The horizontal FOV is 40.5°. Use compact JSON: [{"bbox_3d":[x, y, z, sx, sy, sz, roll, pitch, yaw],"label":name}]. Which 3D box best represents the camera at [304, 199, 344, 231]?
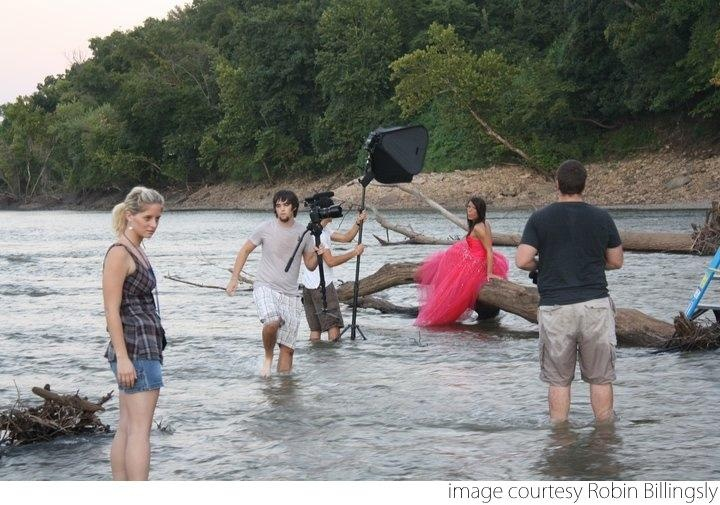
[{"bbox_3d":[-0.763,-0.776,19.681,0.701,0.392,0.658,-1,3,3],"label":"camera"}]

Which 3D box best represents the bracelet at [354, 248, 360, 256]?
[{"bbox_3d":[-0.067,-0.029,20.368,0.136,0.156,0.286,-4,3,0],"label":"bracelet"}]
